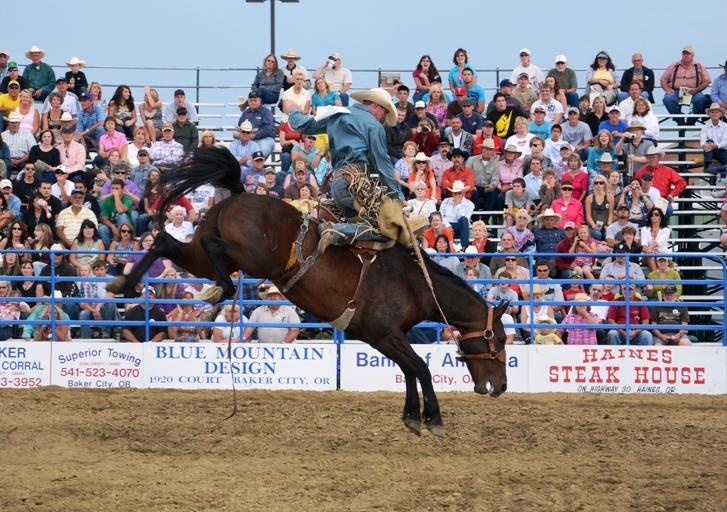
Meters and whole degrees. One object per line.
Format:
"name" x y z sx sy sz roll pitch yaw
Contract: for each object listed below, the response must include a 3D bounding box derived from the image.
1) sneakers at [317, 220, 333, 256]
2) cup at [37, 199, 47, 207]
"sneakers" -0.590 -0.346 25.517 0.189 0.470 0.220 17 -16 -22
"cup" -6.352 -1.103 32.475 0.123 0.147 0.063 8 -17 -36
